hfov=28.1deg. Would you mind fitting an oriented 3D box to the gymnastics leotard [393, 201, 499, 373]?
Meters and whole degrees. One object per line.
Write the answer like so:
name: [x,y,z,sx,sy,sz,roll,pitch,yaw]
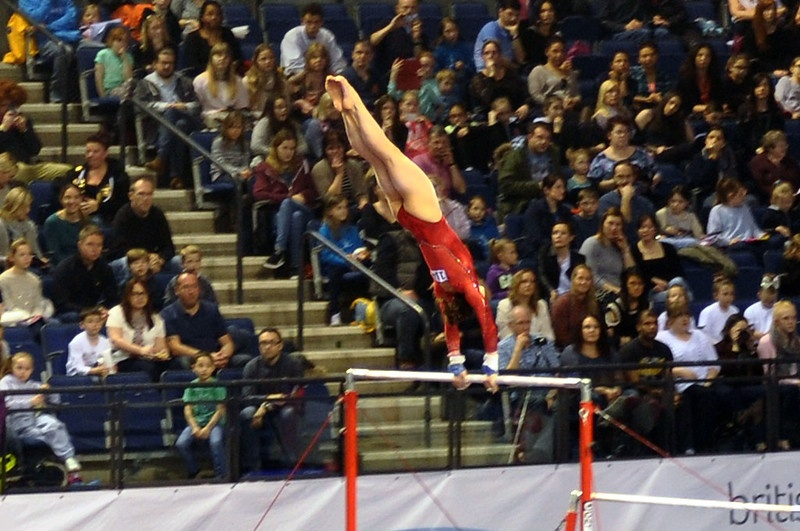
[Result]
gymnastics leotard: [0.434,0.043,15.791,0.625,2.135,0.440,-25,14,1]
